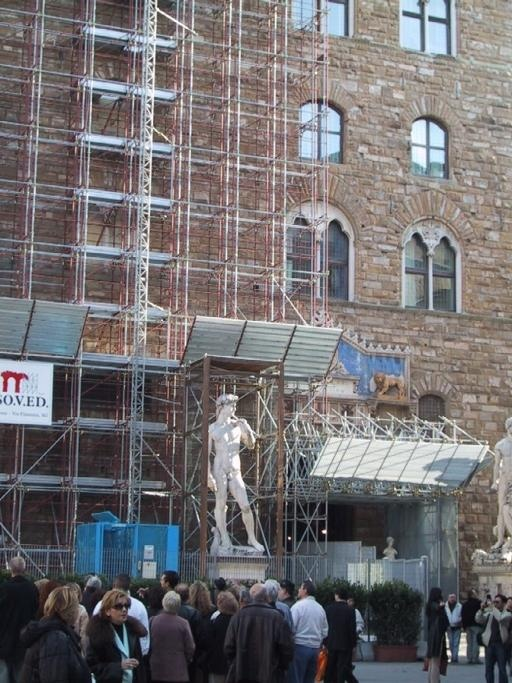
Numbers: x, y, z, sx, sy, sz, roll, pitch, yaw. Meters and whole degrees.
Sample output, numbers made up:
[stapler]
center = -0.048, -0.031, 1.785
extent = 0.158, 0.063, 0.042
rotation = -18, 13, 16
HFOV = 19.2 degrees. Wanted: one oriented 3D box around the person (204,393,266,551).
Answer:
[person]
center = -0.477, 2.596, 30.041
extent = 1.067, 3.155, 0.835
rotation = 4, -10, -16
